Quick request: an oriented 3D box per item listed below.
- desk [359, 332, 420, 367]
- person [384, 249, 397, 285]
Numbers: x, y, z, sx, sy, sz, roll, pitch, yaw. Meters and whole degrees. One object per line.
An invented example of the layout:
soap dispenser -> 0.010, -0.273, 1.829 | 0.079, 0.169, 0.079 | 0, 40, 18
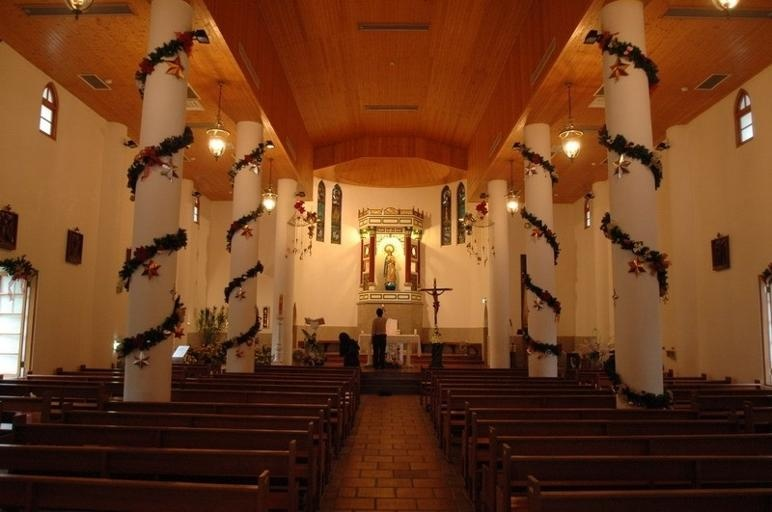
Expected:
desk -> 0.037, 3.461, 22.098 | 2.304, 1.101, 1.803 | 2, -15, -8
person -> 0.099, 0.434, 26.923 | 0.490, 1.244, 0.722 | -7, -3, 18
